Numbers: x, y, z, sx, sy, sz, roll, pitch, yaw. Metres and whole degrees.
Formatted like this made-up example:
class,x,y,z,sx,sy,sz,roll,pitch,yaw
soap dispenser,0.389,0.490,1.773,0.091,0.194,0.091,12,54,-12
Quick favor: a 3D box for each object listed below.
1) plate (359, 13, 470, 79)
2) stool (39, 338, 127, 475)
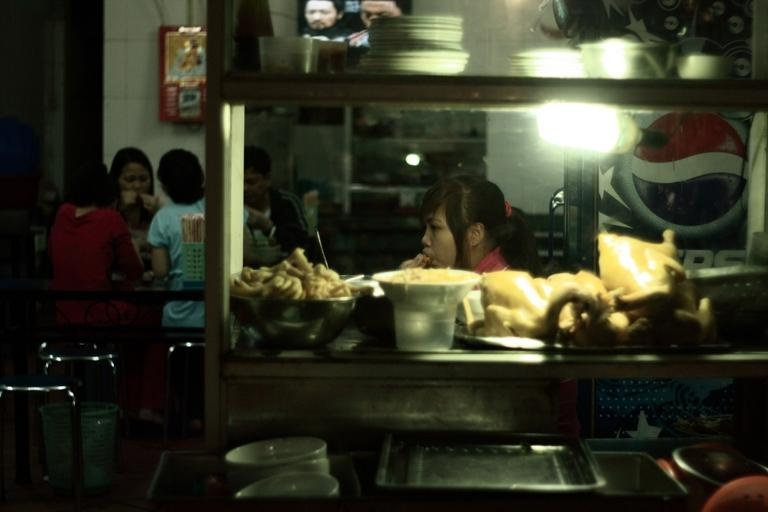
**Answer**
class,x,y,z,sx,sy,sz,roll,pitch,yaw
plate,0.115,-0.656,2.882,0.237,0.111,0.230,-7,11,-42
stool,-1.837,0.792,5.259,0.555,0.607,0.500,-1,2,-24
